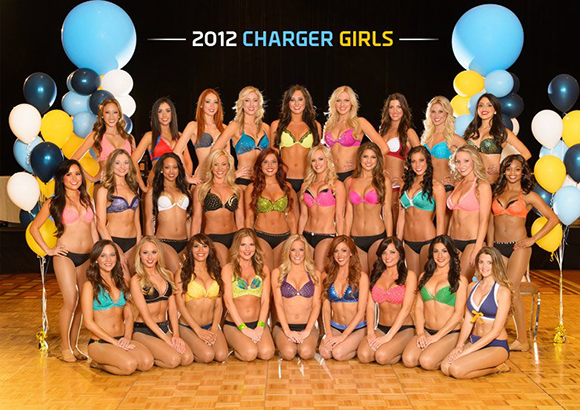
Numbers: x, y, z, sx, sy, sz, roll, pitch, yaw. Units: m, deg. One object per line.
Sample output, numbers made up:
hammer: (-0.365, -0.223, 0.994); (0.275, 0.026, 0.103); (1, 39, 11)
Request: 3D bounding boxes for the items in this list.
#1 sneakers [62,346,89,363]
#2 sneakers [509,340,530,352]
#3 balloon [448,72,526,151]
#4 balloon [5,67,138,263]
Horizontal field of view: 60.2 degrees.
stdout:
sneakers: (-2.399, 1.645, 5.575); (0.334, 0.150, 0.156); (0, 6, 0)
sneakers: (2.643, 1.640, 5.816); (0.226, 0.134, 0.120); (2, 2, 3)
balloon: (2.550, -1.425, 6.922); (0.928, 1.130, 0.408); (20, 1, 2)
balloon: (-2.750, -0.752, 6.303); (1.581, 2.007, 0.695); (3, -5, -23)
